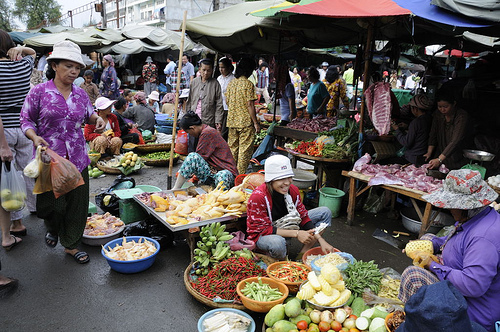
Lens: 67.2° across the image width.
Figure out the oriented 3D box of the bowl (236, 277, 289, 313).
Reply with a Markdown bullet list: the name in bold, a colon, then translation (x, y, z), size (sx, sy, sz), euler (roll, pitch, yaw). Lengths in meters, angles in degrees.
- **bowl**: translation (0.159, 1.449, 4.236), size (0.412, 0.170, 0.423), euler (9, 14, -2)

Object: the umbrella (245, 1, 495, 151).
- **umbrella**: translation (2.172, -1.752, 7.016), size (3.090, 2.400, 3.251), euler (7, 23, 18)

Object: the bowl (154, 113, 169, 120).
- **bowl**: translation (-2.502, -1.403, 10.551), size (0.308, 0.137, 0.253), euler (-3, 9, 17)

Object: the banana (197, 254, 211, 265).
- **banana**: translation (-0.595, 1.151, 4.691), size (0.075, 0.048, 0.146), euler (33, 62, 26)

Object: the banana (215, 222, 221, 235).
- **banana**: translation (-0.416, 0.793, 4.820), size (0.038, 0.148, 0.043), euler (24, 2, 27)

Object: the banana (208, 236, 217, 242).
- **banana**: translation (-0.481, 0.909, 4.719), size (0.057, 0.043, 0.074), euler (-28, -35, 33)

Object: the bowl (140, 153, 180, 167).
- **bowl**: translation (-2.064, -0.110, 8.683), size (0.862, 0.271, 0.424), euler (-8, 23, -18)

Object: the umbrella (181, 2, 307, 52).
- **umbrella**: translation (-0.391, -2.923, 8.123), size (1.823, 0.687, 1.875), euler (9, 14, 31)

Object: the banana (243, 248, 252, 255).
- **banana**: translation (-0.037, 1.087, 4.808), size (0.058, 0.041, 0.072), euler (34, 1, -17)

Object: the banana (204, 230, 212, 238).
- **banana**: translation (-0.534, 0.842, 4.735), size (0.097, 0.092, 0.046), euler (-6, 22, -13)

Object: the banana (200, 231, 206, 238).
- **banana**: translation (-0.607, 0.866, 4.770), size (0.080, 0.114, 0.031), euler (0, 0, 15)

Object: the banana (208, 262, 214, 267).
- **banana**: translation (-0.493, 1.219, 4.676), size (0.044, 0.011, 0.042), euler (-2, 18, -20)

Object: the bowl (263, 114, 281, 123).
- **bowl**: translation (0.497, -1.104, 8.671), size (0.415, 0.231, 0.547), euler (0, 22, 2)

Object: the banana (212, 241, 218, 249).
- **banana**: translation (-0.449, 1.001, 4.762), size (0.059, 0.083, 0.029), euler (12, 1, 28)

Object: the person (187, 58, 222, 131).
- **person**: translation (-1.028, -1.245, 8.219), size (0.873, 1.984, 0.493), euler (6, 12, 6)

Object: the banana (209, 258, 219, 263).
- **banana**: translation (-0.450, 1.169, 4.670), size (0.073, 0.044, 0.008), euler (11, -14, 5)

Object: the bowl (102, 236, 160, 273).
- **bowl**: translation (-1.580, 1.171, 4.995), size (0.723, 0.357, 0.501), euler (-8, 23, -18)

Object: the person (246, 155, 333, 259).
- **person**: translation (0.432, 0.517, 4.825), size (0.959, 1.325, 0.530), euler (-1, 22, -1)

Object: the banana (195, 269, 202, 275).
- **banana**: translation (-0.648, 1.304, 4.629), size (0.058, 0.057, 0.059), euler (-1, 4, 1)

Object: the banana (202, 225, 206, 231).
- **banana**: translation (-0.598, 0.790, 4.800), size (0.040, 0.074, 0.050), euler (-16, 22, -40)

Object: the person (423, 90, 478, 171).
- **person**: translation (3.326, -0.635, 6.199), size (0.679, 1.284, 1.338), euler (12, 25, 30)

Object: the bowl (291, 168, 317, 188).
- **bowl**: translation (0.961, 0.223, 6.729), size (0.358, 0.157, 0.353), euler (3, 20, -1)

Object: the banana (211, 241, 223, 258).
- **banana**: translation (-0.406, 1.044, 4.723), size (0.207, 0.072, 0.061), euler (-49, 5, -23)

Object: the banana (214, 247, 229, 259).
- **banana**: translation (-0.349, 1.091, 4.696), size (0.220, 0.066, 0.077), euler (-45, 14, -28)

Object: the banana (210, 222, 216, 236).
- **banana**: translation (-0.477, 0.789, 4.777), size (0.039, 0.148, 0.043), euler (4, -1, -5)

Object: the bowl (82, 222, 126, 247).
- **bowl**: translation (-2.164, 1.005, 5.500), size (0.455, 0.169, 0.456), euler (-12, -11, -2)

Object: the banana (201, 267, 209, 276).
- **banana**: translation (-0.559, 1.298, 4.642), size (0.098, 0.072, 0.064), euler (-7, 22, -15)

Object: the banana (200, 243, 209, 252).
- **banana**: translation (-0.583, 1.008, 4.684), size (0.070, 0.096, 0.042), euler (-38, 23, -1)

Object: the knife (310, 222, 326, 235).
- **knife**: translation (0.895, 0.820, 4.871), size (0.235, 0.058, 0.077), euler (-34, 12, -16)
